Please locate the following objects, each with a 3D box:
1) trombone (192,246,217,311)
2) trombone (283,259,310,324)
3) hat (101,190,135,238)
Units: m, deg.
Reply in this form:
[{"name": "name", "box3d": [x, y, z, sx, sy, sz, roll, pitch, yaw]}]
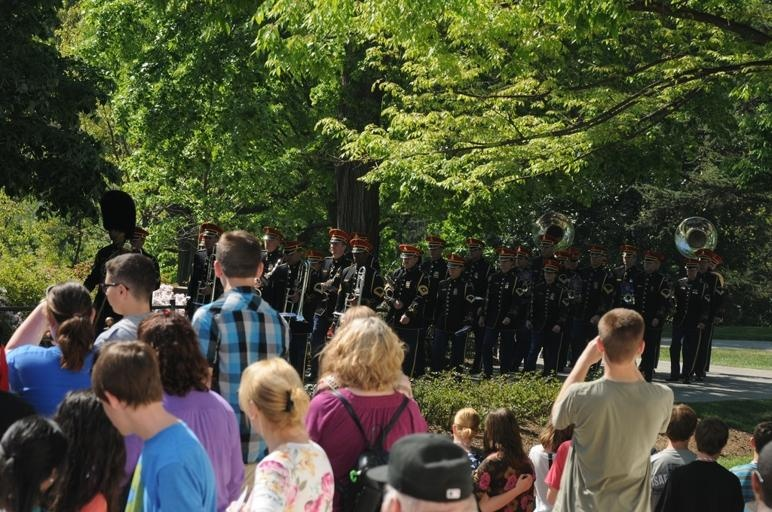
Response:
[{"name": "trombone", "box3d": [-3.426, 0.512, 16.016, 0.525, 1.370, 0.318, 11, 24, 5]}, {"name": "trombone", "box3d": [-1.708, 0.651, 16.483, 0.601, 1.092, 0.597, 5, -3, 14]}, {"name": "hat", "box3d": [-4.239, -0.696, 13.422, 0.550, 0.815, 0.604, 2, -7, 2]}]
